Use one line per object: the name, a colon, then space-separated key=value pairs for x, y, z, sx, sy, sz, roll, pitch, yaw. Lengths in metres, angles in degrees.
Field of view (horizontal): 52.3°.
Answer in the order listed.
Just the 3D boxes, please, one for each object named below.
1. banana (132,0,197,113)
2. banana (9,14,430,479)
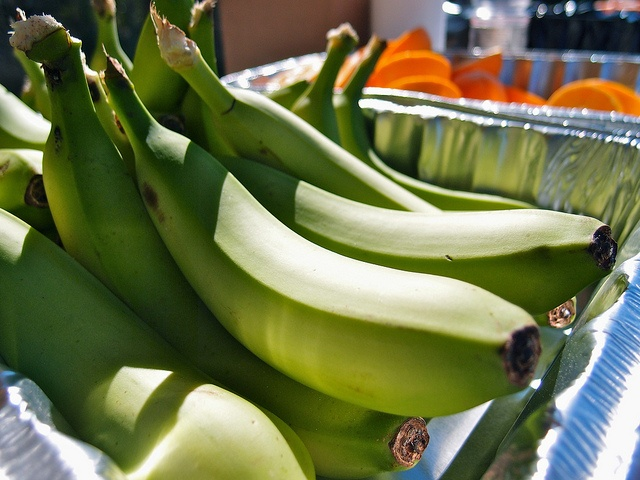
banana: x=-0.219 y=-0.244 z=0.947 sx=0.053 sy=0.244 sz=0.078 roll=4 pitch=-8 yaw=-5
banana: x=-0.123 y=0.017 z=0.753 sx=0.106 sy=0.222 sz=0.653 roll=-25 pitch=86 yaw=-33
